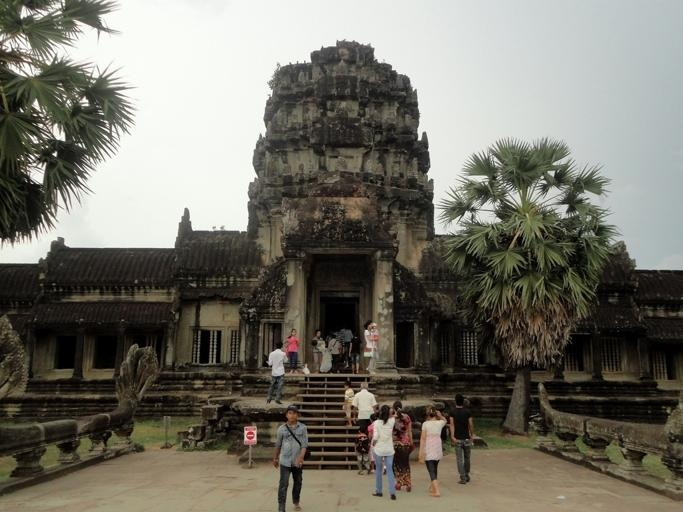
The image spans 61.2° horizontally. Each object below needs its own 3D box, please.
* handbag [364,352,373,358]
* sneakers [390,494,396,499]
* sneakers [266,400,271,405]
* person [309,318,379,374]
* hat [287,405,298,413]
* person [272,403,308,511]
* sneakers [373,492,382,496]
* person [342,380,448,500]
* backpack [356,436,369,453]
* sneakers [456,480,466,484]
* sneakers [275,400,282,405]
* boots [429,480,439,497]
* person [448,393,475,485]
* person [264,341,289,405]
[{"bbox_3d":[0.833,3.073,17.988,0.238,0.231,0.479,0,-6,-1],"label":"handbag"},{"bbox_3d":[0.985,4.629,11.092,0.106,0.087,0.200,0,-6,2],"label":"sneakers"},{"bbox_3d":[-1.958,3.920,15.408,0.105,0.114,0.082,0,-17,-1],"label":"sneakers"},{"bbox_3d":[0.085,3.078,19.272,1.543,1.576,0.708,-4,-32,13],"label":"person"},{"bbox_3d":[-0.897,2.788,10.519,0.156,0.186,0.223,1,-27,-3],"label":"hat"},{"bbox_3d":[-0.926,3.647,10.380,0.530,1.905,0.552,1,-6,-7],"label":"person"},{"bbox_3d":[0.712,4.646,11.266,0.184,0.083,0.129,0,-6,0],"label":"sneakers"},{"bbox_3d":[1.296,3.848,11.539,1.390,1.774,0.858,1,-6,-3],"label":"person"},{"bbox_3d":[0.458,4.242,12.916,0.321,0.381,0.177,3,11,15],"label":"backpack"},{"bbox_3d":[2.569,4.850,12.391,0.195,0.151,0.069,-2,-4,13],"label":"sneakers"},{"bbox_3d":[-1.689,3.918,15.433,0.174,0.180,0.083,1,-4,-16],"label":"sneakers"},{"bbox_3d":[1.837,4.569,11.393,0.183,0.293,0.253,-1,-6,9],"label":"boots"},{"bbox_3d":[2.624,4.008,12.741,0.465,1.919,1.045,-1,-6,11],"label":"person"},{"bbox_3d":[-1.824,3.232,16.221,0.490,1.609,1.991,1,-6,-6],"label":"person"}]
